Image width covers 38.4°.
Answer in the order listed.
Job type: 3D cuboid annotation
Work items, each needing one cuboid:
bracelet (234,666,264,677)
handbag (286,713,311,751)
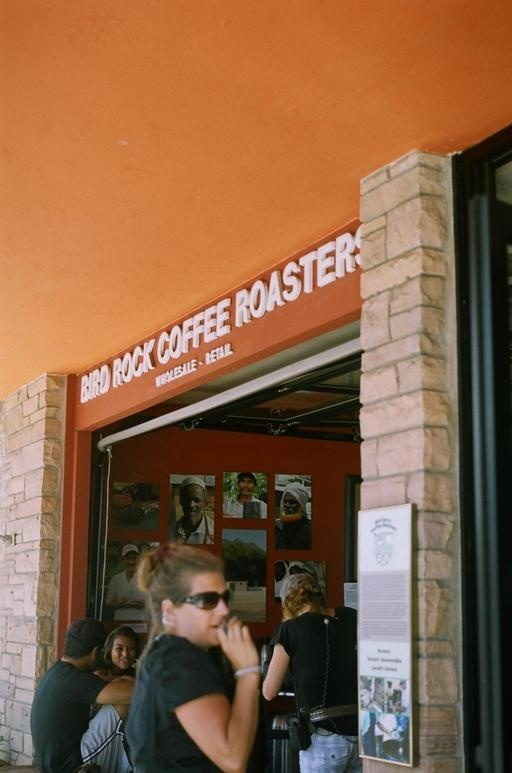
[{"bbox_3d":[-0.016,0.536,1.394,0.051,0.025,0.065,3,-15,0],"label":"bracelet"},{"bbox_3d":[0.186,1.471,3.147,0.076,0.153,0.155,6,-15,-13],"label":"handbag"}]
